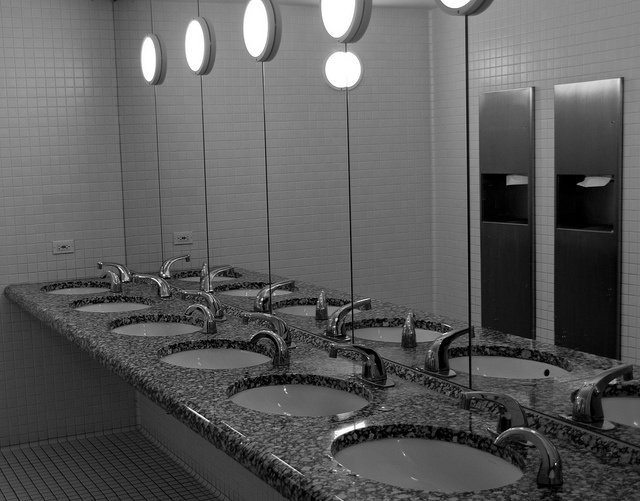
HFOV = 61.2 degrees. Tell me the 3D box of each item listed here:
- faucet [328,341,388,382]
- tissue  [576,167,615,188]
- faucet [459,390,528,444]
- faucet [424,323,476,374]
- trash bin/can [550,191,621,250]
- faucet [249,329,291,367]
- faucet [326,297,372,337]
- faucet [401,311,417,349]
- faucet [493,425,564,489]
[{"bbox_3d":[0.115,0.363,1.785,0.227,0.117,0.085,3,6,34],"label":"faucet"},{"bbox_3d":[0.634,-0.162,1.249,0.016,0.031,0.088,-3,6,-19],"label":"tissue "},{"bbox_3d":[0.399,0.391,1.330,0.175,0.103,0.076,13,13,41],"label":"faucet"},{"bbox_3d":[0.427,0.308,1.708,0.161,0.092,0.139,-7,8,-24],"label":"faucet"},{"bbox_3d":[0.624,-0.085,1.273,0.095,0.120,0.177,0,2,-33],"label":"trash bin/can"},{"bbox_3d":[-0.179,0.351,1.974,0.157,0.118,0.071,2,6,27],"label":"faucet"},{"bbox_3d":[0.138,0.259,2.114,0.191,0.113,0.120,-6,10,-28],"label":"faucet"},{"bbox_3d":[0.307,0.276,1.873,0.026,0.129,0.080,-4,6,-26],"label":"faucet"},{"bbox_3d":[0.437,0.417,1.124,0.074,0.097,0.142,-4,6,-34],"label":"faucet"}]
